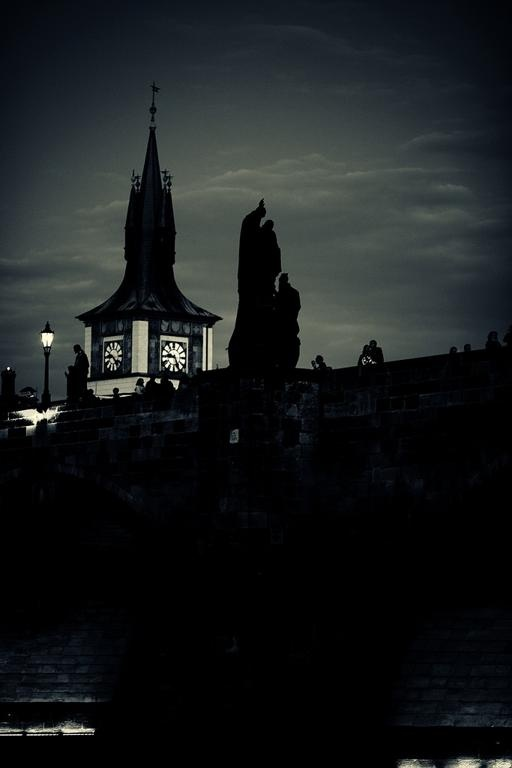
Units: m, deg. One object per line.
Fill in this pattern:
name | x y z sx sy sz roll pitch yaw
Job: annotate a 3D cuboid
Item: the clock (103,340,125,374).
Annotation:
clock | -5.803 -1.190 74.112 0.057 1.182 1.140 -2 -2 -27
